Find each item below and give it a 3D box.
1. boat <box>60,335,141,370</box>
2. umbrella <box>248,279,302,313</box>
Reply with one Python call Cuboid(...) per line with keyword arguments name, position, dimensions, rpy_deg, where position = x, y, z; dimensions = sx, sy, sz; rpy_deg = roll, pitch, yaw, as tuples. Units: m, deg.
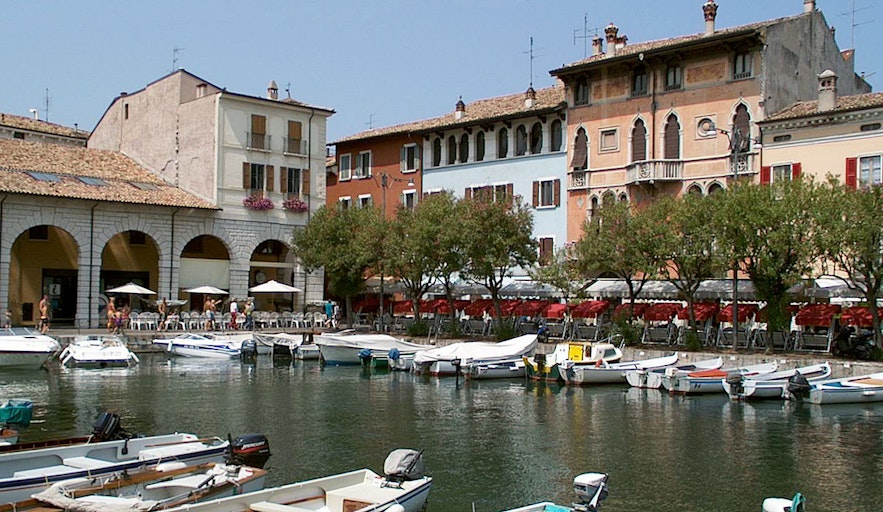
Cuboid(name="boat", position=(-21.631, 5.951, 65.030), dimensions=(4.371, 2.204, 3.661), rpy_deg=(2, -8, -17))
Cuboid(name="umbrella", position=(-13.053, 3.313, 80.573), dimensions=(2.679, 1.891, 2.814), rpy_deg=(4, 3, 44))
